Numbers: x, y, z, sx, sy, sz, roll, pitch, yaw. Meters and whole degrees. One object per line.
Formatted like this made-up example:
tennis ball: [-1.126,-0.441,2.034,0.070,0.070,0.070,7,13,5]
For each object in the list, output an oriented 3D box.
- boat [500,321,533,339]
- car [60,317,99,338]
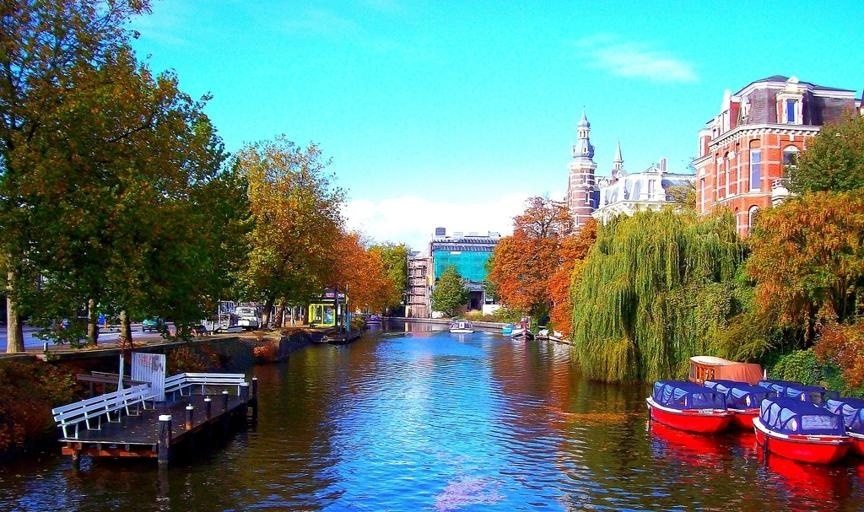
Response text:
boat: [12.338,10.712,110.868,2.367,2.059,7.809,-1,-7,-8]
car: [-22.180,4.469,47.868,1.645,0.701,2.122,-5,-27,5]
